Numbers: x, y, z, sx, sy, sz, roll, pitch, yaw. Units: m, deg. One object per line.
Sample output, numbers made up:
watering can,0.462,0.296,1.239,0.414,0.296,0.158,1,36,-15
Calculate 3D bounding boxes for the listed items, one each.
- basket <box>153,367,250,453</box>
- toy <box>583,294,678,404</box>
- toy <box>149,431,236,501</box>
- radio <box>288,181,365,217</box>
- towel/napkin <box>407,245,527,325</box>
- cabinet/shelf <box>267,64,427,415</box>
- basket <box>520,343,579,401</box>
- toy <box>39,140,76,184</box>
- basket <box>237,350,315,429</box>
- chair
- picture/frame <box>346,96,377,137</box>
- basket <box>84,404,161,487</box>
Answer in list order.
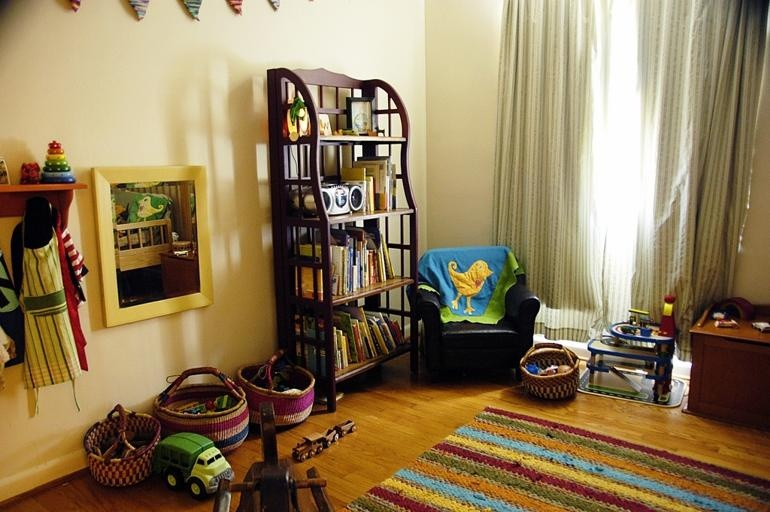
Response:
basket,-1.203,1.008,3.755,0.610,0.505,0.610,2,9,-20
toy,1.916,0.607,4.607,0.740,0.969,0.798,5,10,29
toy,-1.146,1.252,3.407,0.516,0.311,0.223,4,12,33
radio,-0.436,-0.413,4.127,0.311,0.167,0.346,2,9,27
towel/napkin,0.698,0.233,4.743,0.833,0.588,0.455,-2,16,4
cabinet/shelf,-0.231,-0.176,4.420,0.677,2.453,1.356,8,14,43
basket,1.234,0.853,4.331,0.397,0.373,0.414,-4,20,11
toy,-1.871,-0.540,3.241,0.187,0.237,0.183,9,16,22
basket,-0.778,0.905,4.003,0.507,0.389,0.537,-6,18,-40
chair,0.721,0.455,4.710,1.009,0.956,0.830,-1,9,11
picture/frame,-0.193,-1.091,4.427,0.342,0.441,0.058,-10,14,-43
basket,-1.664,1.188,3.461,0.389,0.404,0.385,12,3,19
